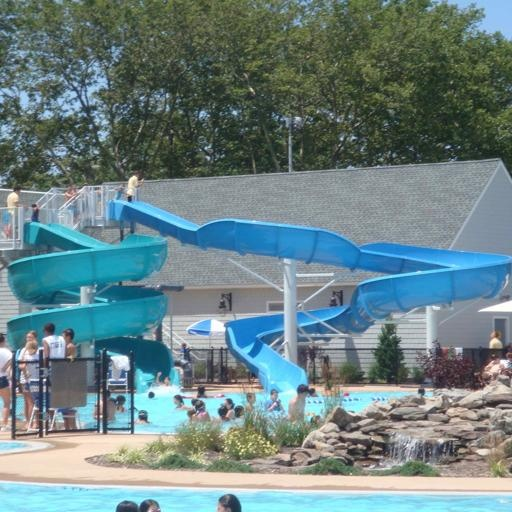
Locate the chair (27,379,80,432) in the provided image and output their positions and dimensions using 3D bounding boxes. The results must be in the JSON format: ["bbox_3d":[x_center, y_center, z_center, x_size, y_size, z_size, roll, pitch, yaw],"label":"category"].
[{"bbox_3d":[-5.281,3.620,39.046,1.469,1.793,1.265,-1,-1,8],"label":"chair"}]

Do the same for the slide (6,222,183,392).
[{"bbox_3d":[-5.566,1.030,48.927,5.905,5.646,5.684,-1,-6,16],"label":"slide"}]

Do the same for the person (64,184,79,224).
[{"bbox_3d":[-6.413,-1.915,54.222,0.489,1.402,0.948,-1,-5,-7],"label":"person"}]

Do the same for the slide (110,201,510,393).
[{"bbox_3d":[1.537,0.816,47.211,6.634,6.285,12.970,3,-7,-44],"label":"slide"}]
